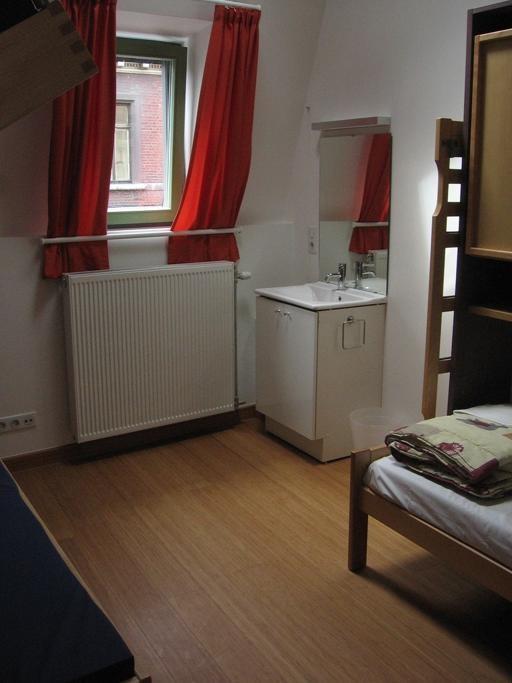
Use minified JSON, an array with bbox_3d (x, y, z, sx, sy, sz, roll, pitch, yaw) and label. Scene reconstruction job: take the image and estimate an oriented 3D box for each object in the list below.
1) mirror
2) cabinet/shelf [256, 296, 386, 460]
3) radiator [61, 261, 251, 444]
[{"bbox_3d":[0.537,-0.737,3.046,0.044,0.878,0.581,-8,14,-31],"label":"mirror"},{"bbox_3d":[0.367,0.179,2.880,0.443,0.876,0.701,-4,10,-27],"label":"cabinet/shelf"},{"bbox_3d":[-0.585,0.048,2.972,0.869,0.940,0.182,-8,14,-35],"label":"radiator"}]
